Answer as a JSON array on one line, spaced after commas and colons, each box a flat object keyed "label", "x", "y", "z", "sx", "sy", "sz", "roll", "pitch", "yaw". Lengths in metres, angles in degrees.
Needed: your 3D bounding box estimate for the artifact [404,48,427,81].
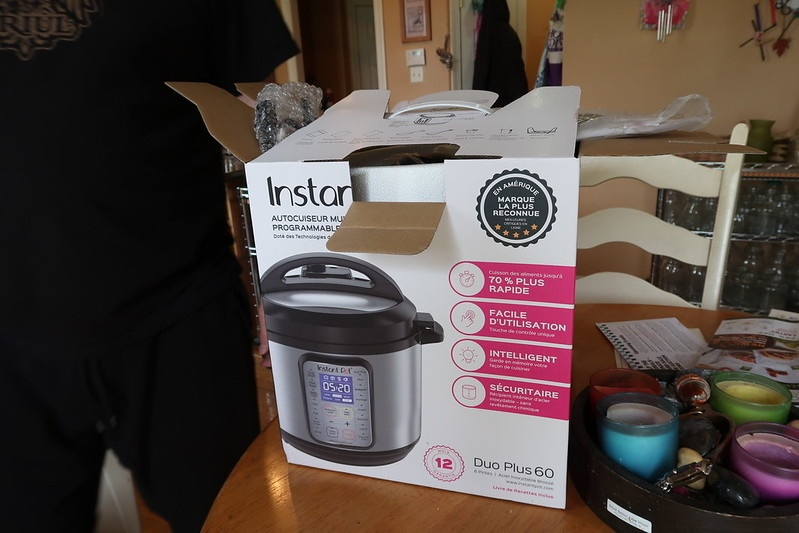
[{"label": "artifact", "x": 0.115, "y": -1.497, "z": 4.469, "sx": 0.147, "sy": 0.241, "sz": 0.050, "roll": 3, "pitch": 17, "yaw": 11}]
